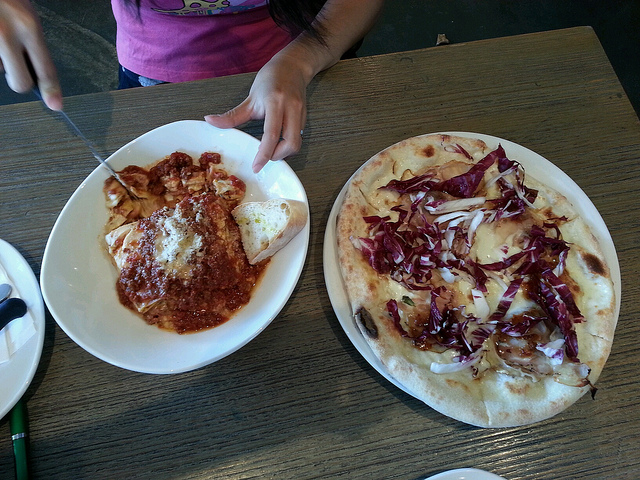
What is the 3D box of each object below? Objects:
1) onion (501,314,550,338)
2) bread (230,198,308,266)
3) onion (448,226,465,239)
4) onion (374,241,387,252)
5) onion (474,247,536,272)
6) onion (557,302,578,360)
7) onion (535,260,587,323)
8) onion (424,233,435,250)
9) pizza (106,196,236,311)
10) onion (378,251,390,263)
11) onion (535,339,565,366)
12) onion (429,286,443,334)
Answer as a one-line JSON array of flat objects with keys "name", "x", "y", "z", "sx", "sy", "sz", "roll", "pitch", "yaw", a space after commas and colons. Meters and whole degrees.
[{"name": "onion", "x": 0.835, "y": 0.346, "z": 2.147, "sx": 0.188, "sy": 0.062, "sz": 0.071, "roll": -27, "pitch": 74, "yaw": -12}, {"name": "bread", "x": -0.178, "y": -0.030, "z": 2.217, "sx": 0.226, "sy": 0.101, "sz": 0.358, "roll": -1, "pitch": 39, "yaw": 5}, {"name": "onion", "x": 0.584, "y": -0.030, "z": 2.262, "sx": 0.054, "sy": 0.017, "sz": 0.051, "roll": -35, "pitch": 90, "yaw": -32}, {"name": "onion", "x": 0.253, "y": 0.031, "z": 2.233, "sx": 0.052, "sy": 0.013, "sz": 0.035, "roll": 15, "pitch": 38, "yaw": -41}, {"name": "onion", "x": 0.799, "y": 0.089, "z": 2.251, "sx": 0.187, "sy": 0.050, "sz": 0.029, "roll": -19, "pitch": 64, "yaw": -2}, {"name": "onion", "x": 0.965, "y": 0.367, "z": 2.096, "sx": 0.067, "sy": 0.061, "sz": 0.193, "roll": 6, "pitch": 69, "yaw": -23}, {"name": "onion", "x": 0.975, "y": 0.201, "z": 2.223, "sx": 0.092, "sy": 0.097, "sz": 0.308, "roll": -20, "pitch": 57, "yaw": -4}, {"name": "onion", "x": 0.464, "y": 0.008, "z": 2.228, "sx": 0.015, "sy": 0.036, "sz": 0.046, "roll": 9, "pitch": 60, "yaw": -44}, {"name": "pizza", "x": -0.594, "y": 0.055, "z": 2.168, "sx": 0.471, "sy": 0.075, "sz": 0.424, "roll": -21, "pitch": 71, "yaw": -10}, {"name": "onion", "x": 0.277, "y": 0.072, "z": 2.230, "sx": 0.037, "sy": 0.011, "sz": 0.045, "roll": -18, "pitch": 98, "yaw": -14}, {"name": "onion", "x": 0.917, "y": 0.442, "z": 2.069, "sx": 0.100, "sy": 0.040, "sz": 0.101, "roll": 36, "pitch": 109, "yaw": 22}, {"name": "onion", "x": 0.462, "y": 0.295, "z": 2.150, "sx": 0.063, "sy": 0.044, "sz": 0.152, "roll": 3, "pitch": 77, "yaw": -16}]
